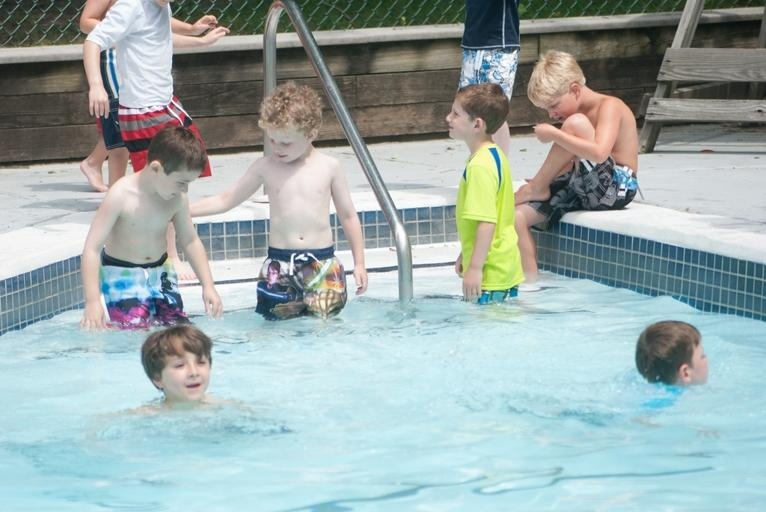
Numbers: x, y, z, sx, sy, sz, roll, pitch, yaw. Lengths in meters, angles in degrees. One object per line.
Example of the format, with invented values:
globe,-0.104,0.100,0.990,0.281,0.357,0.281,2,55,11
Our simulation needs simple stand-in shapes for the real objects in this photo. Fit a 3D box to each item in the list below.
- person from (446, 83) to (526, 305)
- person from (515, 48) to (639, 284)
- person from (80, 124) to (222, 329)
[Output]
person,0.600,-0.314,4.876,0.463,1.254,0.615,0,20,4
person,1.209,-0.529,5.315,0.754,1.413,0.587,4,20,14
person,-1.238,-0.099,4.348,0.703,1.003,0.355,-8,21,-18
